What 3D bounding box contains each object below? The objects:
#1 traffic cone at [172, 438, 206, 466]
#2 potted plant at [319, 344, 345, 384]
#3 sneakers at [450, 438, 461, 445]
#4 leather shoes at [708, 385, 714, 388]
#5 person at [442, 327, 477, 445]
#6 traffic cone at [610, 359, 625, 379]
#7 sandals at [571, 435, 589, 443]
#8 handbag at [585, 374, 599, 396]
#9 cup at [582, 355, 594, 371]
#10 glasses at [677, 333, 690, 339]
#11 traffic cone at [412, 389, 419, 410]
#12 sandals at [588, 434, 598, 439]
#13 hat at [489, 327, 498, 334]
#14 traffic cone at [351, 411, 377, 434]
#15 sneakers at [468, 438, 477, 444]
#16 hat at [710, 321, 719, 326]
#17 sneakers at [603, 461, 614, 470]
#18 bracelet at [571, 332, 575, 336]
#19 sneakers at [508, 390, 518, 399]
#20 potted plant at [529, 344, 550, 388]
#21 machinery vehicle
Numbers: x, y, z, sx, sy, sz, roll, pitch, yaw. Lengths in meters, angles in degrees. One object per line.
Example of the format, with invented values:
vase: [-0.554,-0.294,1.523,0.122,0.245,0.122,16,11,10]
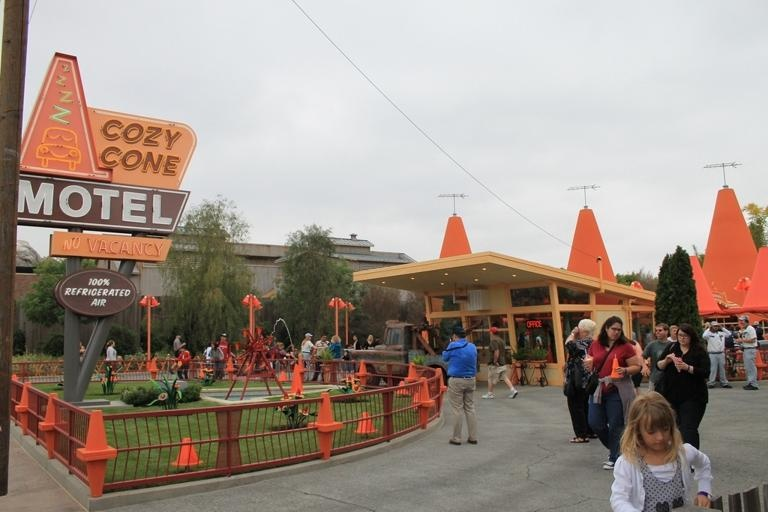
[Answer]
traffic cone: [-3.599,3.610,11.746,0.364,0.575,0.652,3,-8,-15]
potted plant: [-1.998,4.130,25.142,0.964,1.483,0.847,-10,-4,28]
sneakers: [1.552,4.028,13.956,0.142,0.135,0.318,7,-10,-38]
leather shoes: [10.842,4.318,21.125,0.170,0.117,0.174,-8,-13,41]
person: [1.710,2.843,14.085,0.686,2.522,0.644,-1,-8,16]
traffic cone: [4.184,2.001,11.436,0.194,0.358,0.164,-2,-8,19]
sandals: [4.209,3.931,13.690,0.414,0.180,0.153,3,-6,13]
handbag: [3.952,2.422,12.078,0.194,0.424,0.406,14,-47,7]
cup: [3.819,1.988,11.886,0.261,0.371,0.132,-4,-10,23]
glasses: [5.256,1.414,11.167,0.132,0.043,0.126,17,-20,-30]
traffic cone: [0.783,3.455,15.383,0.162,0.406,0.282,0,-7,3]
sandals: [4.532,3.917,13.819,0.131,0.032,0.127,-2,-2,37]
hat: [3.745,2.530,21.573,0.426,0.197,0.599,1,-4,8]
traffic cone: [-0.420,3.657,13.990,0.435,0.494,0.444,4,-13,-11]
sneakers: [1.957,4.033,13.960,0.212,0.114,0.183,0,-8,8]
hat: [10.671,2.177,20.645,0.308,0.135,0.408,0,-5,6]
sneakers: [4.105,3.807,11.654,0.162,0.194,0.449,3,-13,20]
bracelet: [3.853,1.592,12.963,0.016,0.069,0.067,-2,32,-12]
sneakers: [4.257,4.550,20.973,0.137,0.264,0.394,-22,-26,-27]
potted plant: [6.035,4.242,24.731,0.344,1.415,0.778,4,-8,-26]
machinery vehicle: [1.038,3.819,25.372,4.531,2.699,2.794,-5,-3,24]
